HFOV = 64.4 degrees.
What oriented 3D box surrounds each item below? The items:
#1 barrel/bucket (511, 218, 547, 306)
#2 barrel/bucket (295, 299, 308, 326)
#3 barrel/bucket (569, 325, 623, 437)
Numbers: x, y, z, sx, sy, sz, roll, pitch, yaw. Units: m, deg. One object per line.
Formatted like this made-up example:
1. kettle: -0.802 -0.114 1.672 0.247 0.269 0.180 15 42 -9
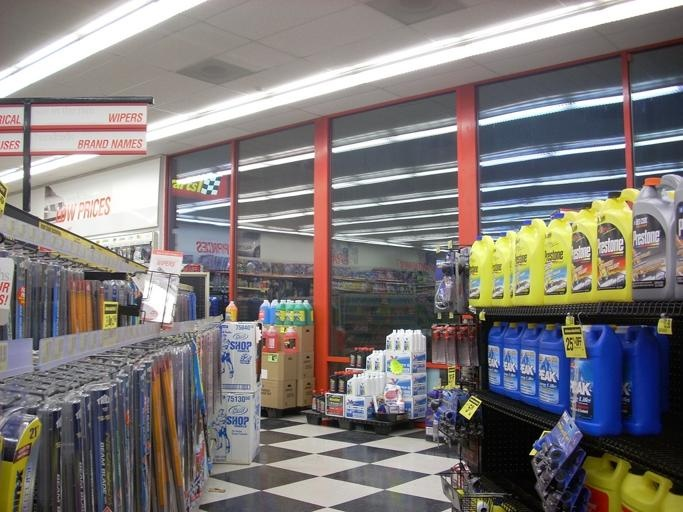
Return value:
1. barrel/bucket: 0.934 0.027 2.659 0.129 0.427 0.273 0 -4 3
2. barrel/bucket: -0.540 0.766 7.278 0.239 0.408 0.244 1 -11 0
3. barrel/bucket: 1.039 0.500 2.209 0.200 0.437 0.114 -3 -5 36
